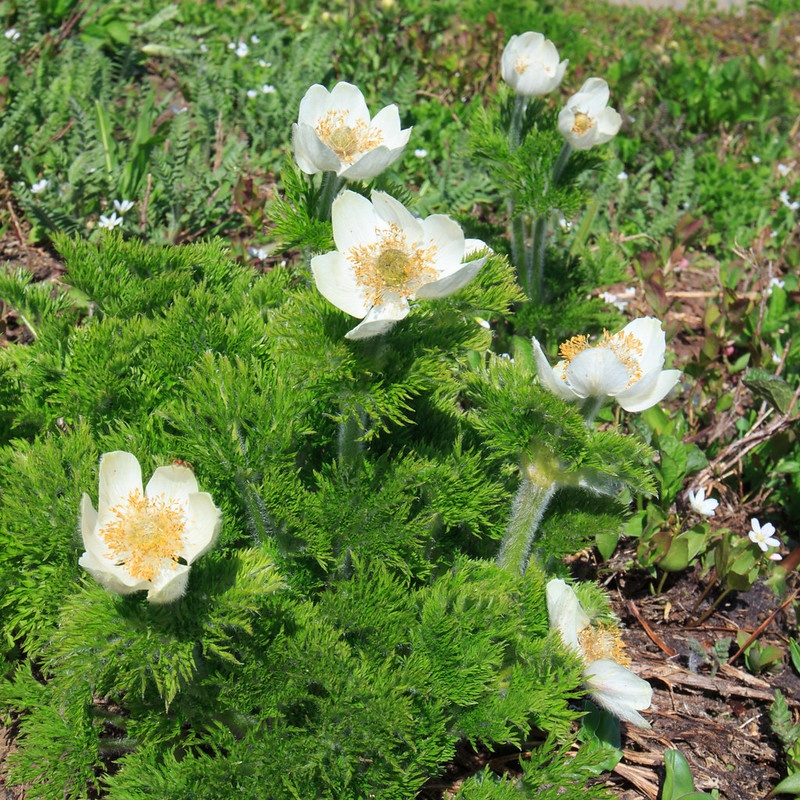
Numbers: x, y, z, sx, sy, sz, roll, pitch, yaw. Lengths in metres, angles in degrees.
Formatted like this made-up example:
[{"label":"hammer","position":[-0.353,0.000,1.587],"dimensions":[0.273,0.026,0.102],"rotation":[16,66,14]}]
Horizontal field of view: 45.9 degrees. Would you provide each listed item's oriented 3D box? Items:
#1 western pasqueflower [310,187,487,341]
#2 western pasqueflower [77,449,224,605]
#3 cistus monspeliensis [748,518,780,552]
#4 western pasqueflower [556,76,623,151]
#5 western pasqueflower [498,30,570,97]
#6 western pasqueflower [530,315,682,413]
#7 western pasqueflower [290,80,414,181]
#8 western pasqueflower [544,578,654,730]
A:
[{"label":"western pasqueflower","position":[-0.013,-0.422,2.724],"dimensions":[0.446,0.378,0.175],"rotation":[23,59,-16]},{"label":"western pasqueflower","position":[-0.665,0.333,2.535],"dimensions":[0.364,0.256,0.382],"rotation":[7,63,0]},{"label":"cistus monspeliensis","position":[1.381,0.491,3.579],"dimensions":[0.129,0.062,0.159],"rotation":[16,72,-12]},{"label":"western pasqueflower","position":[0.761,-1.157,3.851],"dimensions":[0.241,0.177,0.323],"rotation":[13,80,-29]},{"label":"western pasqueflower","position":[0.561,-1.367,3.912],"dimensions":[0.288,0.227,0.278],"rotation":[-1,33,-8]},{"label":"western pasqueflower","position":[0.632,-0.112,2.873],"dimensions":[0.312,0.277,0.367],"rotation":[3,32,3]},{"label":"western pasqueflower","position":[-0.211,-0.836,3.064],"dimensions":[0.425,0.230,0.445],"rotation":[31,33,26]},{"label":"western pasqueflower","position":[0.562,0.772,2.939],"dimensions":[0.390,0.151,0.434],"rotation":[40,29,-30]}]
